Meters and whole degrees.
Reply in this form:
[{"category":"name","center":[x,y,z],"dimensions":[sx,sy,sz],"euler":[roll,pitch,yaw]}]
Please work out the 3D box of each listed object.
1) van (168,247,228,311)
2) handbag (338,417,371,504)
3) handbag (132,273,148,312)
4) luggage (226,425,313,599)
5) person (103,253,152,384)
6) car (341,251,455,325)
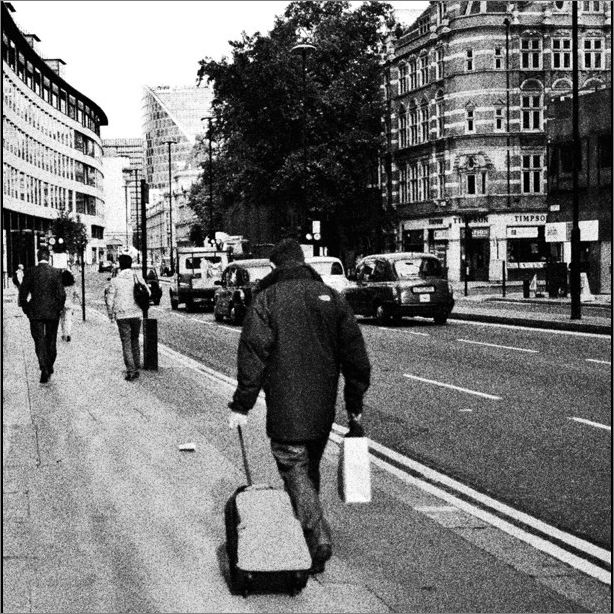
[{"category":"van","center":[-4.121,-1.065,34.620],"dimensions":[1.395,2.243,3.055],"euler":[0,6,-11]},{"category":"handbag","center":[0.244,0.863,5.264],"dimensions":[0.239,0.418,0.386],"euler":[3,12,-2]},{"category":"handbag","center":[-2.412,-0.181,13.298],"dimensions":[0.132,0.295,0.409],"euler":[-23,51,-9]},{"category":"luggage","center":[-0.304,1.060,5.255],"dimensions":[0.340,0.383,1.531],"euler":[4,29,-13]},{"category":"person","center":[-2.628,0.162,13.413],"dimensions":[0.518,1.834,0.821],"euler":[0,1,-18]},{"category":"car","center":[2.338,-0.524,24.929],"dimensions":[1.469,1.901,3.522],"euler":[-2,8,-15]}]
